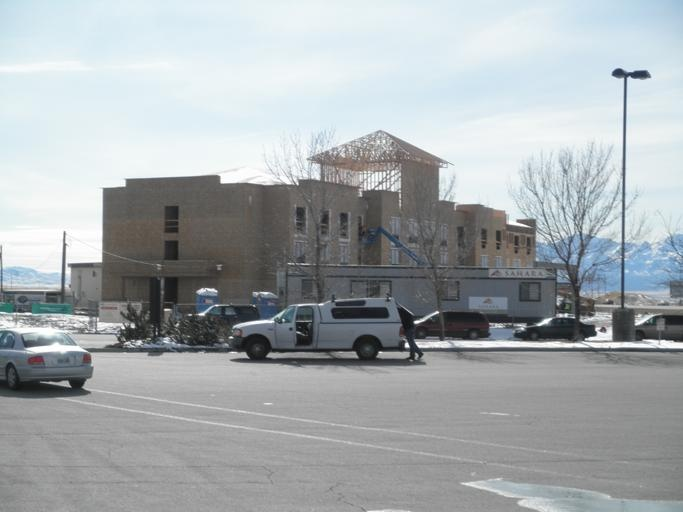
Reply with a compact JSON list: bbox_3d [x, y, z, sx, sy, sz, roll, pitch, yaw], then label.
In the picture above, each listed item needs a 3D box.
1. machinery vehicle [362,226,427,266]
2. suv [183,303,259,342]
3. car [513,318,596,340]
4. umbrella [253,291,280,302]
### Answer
[{"bbox_3d":[4.010,-0.442,86.565,4.884,1.062,1.778,34,-47,-4],"label":"machinery vehicle"},{"bbox_3d":[-5.219,2.706,47.846,1.788,1.255,2.379,1,0,-38],"label":"suv"},{"bbox_3d":[10.259,3.415,56.572,4.079,1.172,1.302,2,-7,-18],"label":"car"},{"bbox_3d":[-4.179,2.136,63.842,0.772,0.509,0.810,-2,-3,13],"label":"umbrella"}]
